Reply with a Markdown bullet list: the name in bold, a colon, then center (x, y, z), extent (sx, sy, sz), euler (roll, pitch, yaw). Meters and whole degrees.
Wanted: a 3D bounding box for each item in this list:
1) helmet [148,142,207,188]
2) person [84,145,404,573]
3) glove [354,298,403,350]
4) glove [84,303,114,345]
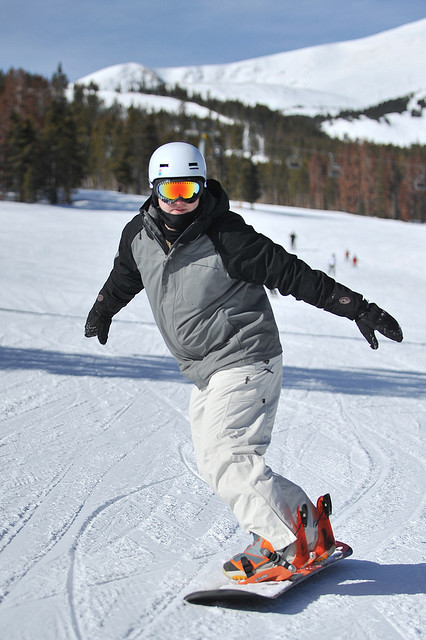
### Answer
- **helmet**: center (-0.165, -0.719, 3.481), extent (0.270, 0.300, 0.341), euler (-5, 8, -11)
- **person**: center (0.021, 0.138, 3.369), extent (0.583, 1.898, 1.418), euler (-2, 6, -43)
- **glove**: center (0.721, 0.026, 3.084), extent (0.057, 0.215, 0.180), euler (-23, 31, 48)
- **glove**: center (-0.687, 0.025, 4.185), extent (0.127, 0.077, 0.221), euler (-13, 35, 4)
